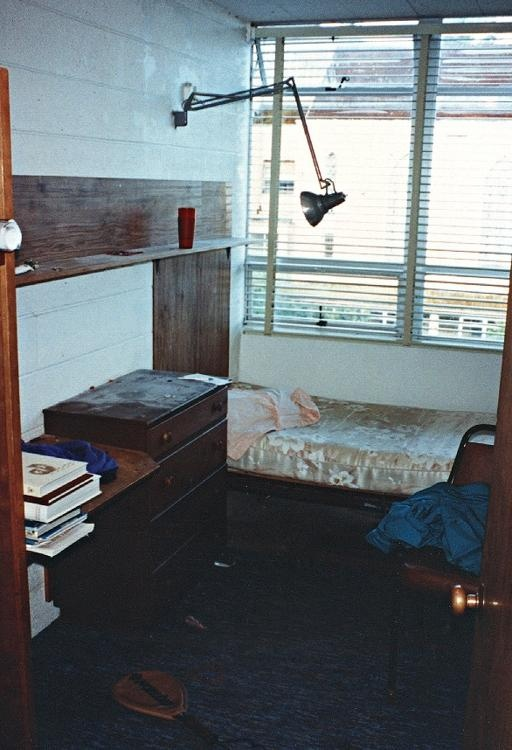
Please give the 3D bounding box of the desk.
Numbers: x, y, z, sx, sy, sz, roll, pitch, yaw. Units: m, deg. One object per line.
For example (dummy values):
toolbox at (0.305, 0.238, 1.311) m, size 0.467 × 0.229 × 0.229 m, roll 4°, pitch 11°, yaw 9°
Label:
desk at (-0.509, 0.557, 2.113) m, size 0.422 × 0.528 × 0.568 m, roll 4°, pitch -10°, yaw -12°

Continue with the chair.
chair at (0.730, 0.547, 2.354) m, size 0.385 × 0.591 × 1.312 m, roll 5°, pitch 12°, yaw 14°

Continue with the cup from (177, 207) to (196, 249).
cup at (-0.311, -0.664, 2.827) m, size 0.066 × 0.179 × 0.086 m, roll -1°, pitch 12°, yaw -14°

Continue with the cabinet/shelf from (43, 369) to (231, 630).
cabinet/shelf at (-0.445, 0.384, 2.612) m, size 0.417 × 0.661 × 0.734 m, roll 4°, pitch 14°, yaw 22°

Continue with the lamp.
lamp at (0.009, -1.109, 3.084) m, size 0.841 × 0.677 × 0.247 m, roll 10°, pitch 28°, yaw 6°
